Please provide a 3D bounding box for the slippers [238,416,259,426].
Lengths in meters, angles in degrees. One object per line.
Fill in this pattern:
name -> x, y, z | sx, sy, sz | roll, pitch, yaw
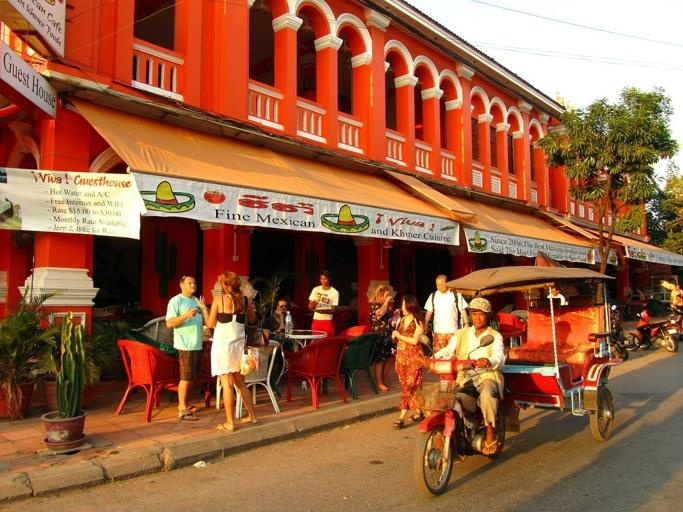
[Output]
slippers -> -1.355, 2.391, 8.858 | 0.331, 0.153, 0.115 | 2, -4, 35

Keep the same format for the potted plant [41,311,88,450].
potted plant -> -3.513, 1.561, 7.740 | 0.487, 1.754, 0.362 | -1, 4, -28

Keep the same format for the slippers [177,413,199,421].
slippers -> -2.281, 2.373, 9.036 | 0.301, 0.130, 0.113 | 0, 1, 8

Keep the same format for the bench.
bench -> 3.258, 1.228, 9.330 | 1.091, 0.900, 1.117 | -5, -8, 42

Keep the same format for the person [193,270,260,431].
person -> -1.553, 1.334, 8.684 | 0.570, 2.221, 0.646 | 3, 4, 35

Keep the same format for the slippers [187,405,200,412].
slippers -> -2.278, 2.335, 9.319 | 0.100, 0.098, 0.178 | 3, -7, -1

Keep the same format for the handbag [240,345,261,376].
handbag -> -1.320, 1.466, 8.717 | 0.233, 0.457, 0.442 | 8, -6, 14

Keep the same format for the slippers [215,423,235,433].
slippers -> -1.629, 2.380, 8.489 | 0.222, 0.070, 0.108 | 2, -8, 27

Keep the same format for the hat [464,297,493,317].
hat -> 1.810, 0.618, 7.868 | 0.229, 0.129, 0.236 | 33, -24, -34

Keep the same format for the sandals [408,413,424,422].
sandals -> 1.170, 2.518, 9.554 | 0.095, 0.105, 0.276 | -10, -18, 41

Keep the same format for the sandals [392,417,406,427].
sandals -> 0.875, 2.509, 9.274 | 0.182, 0.128, 0.241 | 1, 4, 6

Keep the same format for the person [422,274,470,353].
person -> 1.876, 1.282, 10.899 | 0.827, 1.893, 0.511 | -2, 16, 15

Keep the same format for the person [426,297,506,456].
person -> 1.686, 1.499, 7.751 | 0.749, 1.923, 0.955 | 0, 4, -8

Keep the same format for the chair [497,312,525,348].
chair -> 4.226, 1.834, 15.024 | 0.537, 0.701, 0.572 | -1, -1, 18
